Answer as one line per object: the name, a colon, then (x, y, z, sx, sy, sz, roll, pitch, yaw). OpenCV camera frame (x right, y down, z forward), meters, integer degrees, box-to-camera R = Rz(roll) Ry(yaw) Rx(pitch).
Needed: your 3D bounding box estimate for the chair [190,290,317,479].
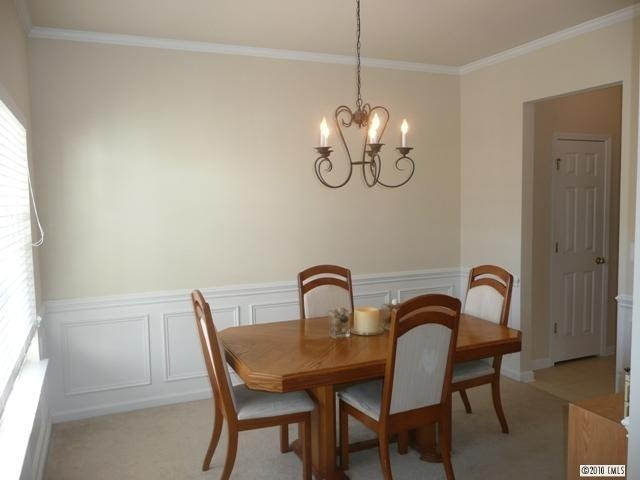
chair: (-0.444, 0.983, 3.193, 0.773, 1.351, 0.612, -3, 7, -11)

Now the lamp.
lamp: (0.386, -1.420, 4.510, 0.870, 2.126, 0.795, -10, 15, -40)

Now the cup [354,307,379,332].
cup: (0.340, 0.579, 3.413, 0.155, 0.123, 0.159, 0, -2, 0)

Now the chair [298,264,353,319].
chair: (0.038, 0.431, 4.133, 0.379, 0.744, 0.480, -1, -1, -15)
